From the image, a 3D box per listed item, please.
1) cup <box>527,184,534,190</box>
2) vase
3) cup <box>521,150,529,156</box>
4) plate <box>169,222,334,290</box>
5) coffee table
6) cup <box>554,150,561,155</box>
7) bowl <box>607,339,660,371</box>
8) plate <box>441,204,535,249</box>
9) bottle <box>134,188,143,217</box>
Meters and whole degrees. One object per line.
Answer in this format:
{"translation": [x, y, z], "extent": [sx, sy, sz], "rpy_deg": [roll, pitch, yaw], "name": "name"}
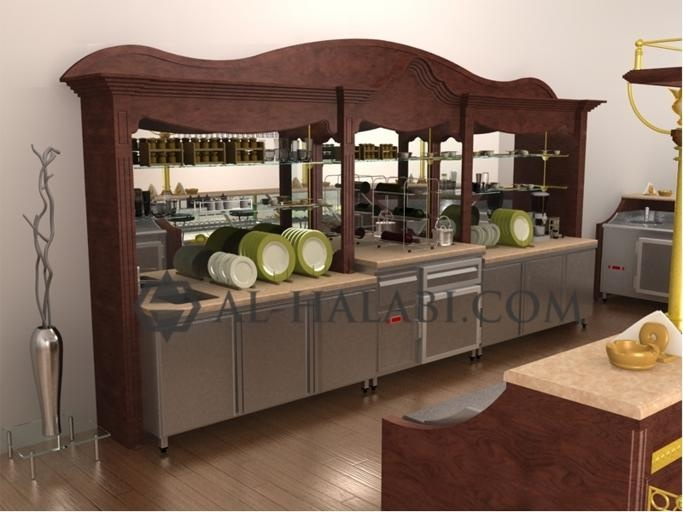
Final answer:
{"translation": [2.366, -0.851, 6.874], "extent": [0.076, 0.067, 0.097], "rpy_deg": [3, 4, 45], "name": "cup"}
{"translation": [-2.029, 0.865, 3.824], "extent": [0.184, 0.787, 0.178], "rpy_deg": [-6, 13, -29], "name": "vase"}
{"translation": [2.250, -1.252, 6.730], "extent": [0.088, 0.074, 0.368], "rpy_deg": [3, 12, 17], "name": "cup"}
{"translation": [-0.718, -0.016, 4.690], "extent": [1.269, 0.433, 0.686], "rpy_deg": [-7, 13, -29], "name": "plate"}
{"translation": [-2.043, 1.309, 3.935], "extent": [0.599, 0.340, 0.626], "rpy_deg": [-8, 14, -34], "name": "coffee table"}
{"translation": [2.671, -1.270, 6.791], "extent": [0.079, 0.064, 0.180], "rpy_deg": [4, 12, 20], "name": "cup"}
{"translation": [1.167, 0.393, 2.206], "extent": [0.163, 0.092, 0.170], "rpy_deg": [0, 11, 0], "name": "bowl"}
{"translation": [1.738, -0.299, 6.181], "extent": [0.767, 0.348, 0.572], "rpy_deg": [-3, 5, -33], "name": "plate"}
{"translation": [-1.592, -0.415, 4.309], "extent": [0.033, 0.229, 0.068], "rpy_deg": [10, 15, 41], "name": "bottle"}
